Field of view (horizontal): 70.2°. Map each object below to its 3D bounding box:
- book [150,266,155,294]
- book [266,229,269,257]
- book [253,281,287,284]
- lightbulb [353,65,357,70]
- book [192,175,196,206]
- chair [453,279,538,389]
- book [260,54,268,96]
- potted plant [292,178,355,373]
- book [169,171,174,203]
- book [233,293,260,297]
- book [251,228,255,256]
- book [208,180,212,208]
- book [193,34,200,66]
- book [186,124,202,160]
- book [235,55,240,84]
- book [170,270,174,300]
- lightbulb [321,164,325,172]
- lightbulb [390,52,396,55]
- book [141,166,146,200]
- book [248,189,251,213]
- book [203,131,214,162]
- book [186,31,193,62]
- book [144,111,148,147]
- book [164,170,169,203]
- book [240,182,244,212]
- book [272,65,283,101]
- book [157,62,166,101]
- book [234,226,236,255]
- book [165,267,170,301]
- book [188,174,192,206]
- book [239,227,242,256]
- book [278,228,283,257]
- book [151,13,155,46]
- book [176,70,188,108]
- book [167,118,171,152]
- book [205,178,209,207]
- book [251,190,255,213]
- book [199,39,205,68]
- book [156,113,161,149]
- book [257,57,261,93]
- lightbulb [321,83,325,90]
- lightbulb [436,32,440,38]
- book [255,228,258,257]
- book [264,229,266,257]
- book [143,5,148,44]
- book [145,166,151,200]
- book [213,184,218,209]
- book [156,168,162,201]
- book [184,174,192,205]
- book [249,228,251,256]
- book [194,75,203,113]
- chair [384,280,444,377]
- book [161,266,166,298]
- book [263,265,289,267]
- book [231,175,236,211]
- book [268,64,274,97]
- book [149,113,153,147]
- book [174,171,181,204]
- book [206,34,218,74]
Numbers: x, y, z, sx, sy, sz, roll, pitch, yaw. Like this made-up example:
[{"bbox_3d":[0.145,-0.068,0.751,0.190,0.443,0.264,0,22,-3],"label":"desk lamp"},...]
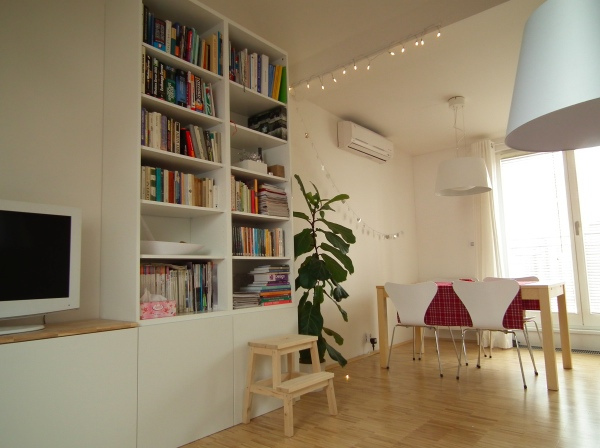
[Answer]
[{"bbox_3d":[-1.012,0.381,2.922,0.012,0.185,0.037,-3,-4,36],"label":"book"},{"bbox_3d":[-0.274,0.165,3.627,0.024,0.205,0.057,-2,-3,25],"label":"book"},{"bbox_3d":[-0.250,0.489,3.584,0.289,0.024,0.128,-1,-3,-10],"label":"book"},{"bbox_3d":[0.531,-1.500,4.101,0.018,0.019,0.032,-21,35,-40],"label":"lightbulb"},{"bbox_3d":[-0.790,-0.244,3.186,0.024,0.220,0.039,-1,-3,4],"label":"book"},{"bbox_3d":[2.181,0.865,4.138,0.843,1.487,0.872,-3,-3,36],"label":"chair"},{"bbox_3d":[-0.312,-1.308,3.744,0.071,0.366,0.046,0,-3,-20],"label":"book"},{"bbox_3d":[0.238,0.553,4.153,0.573,1.949,0.981,-1,-3,1],"label":"potted plant"},{"bbox_3d":[-0.920,-0.264,3.053,0.011,0.220,0.037,-2,-3,29],"label":"book"},{"bbox_3d":[-0.430,0.574,3.424,0.217,0.029,0.061,0,-3,-17],"label":"book"},{"bbox_3d":[-0.383,0.148,3.518,0.008,0.213,0.033,-3,-3,30],"label":"book"},{"bbox_3d":[-0.693,-0.224,3.275,0.025,0.272,0.195,-2,2,-11],"label":"book"},{"bbox_3d":[-0.797,-1.336,3.274,0.015,0.243,0.055,-2,-3,28],"label":"book"},{"bbox_3d":[-0.793,-0.624,3.223,0.042,0.206,0.194,-8,5,-8],"label":"book"},{"bbox_3d":[-0.526,-1.297,3.560,0.038,0.251,0.041,1,-3,-24],"label":"book"},{"bbox_3d":[-0.905,0.428,3.014,0.023,0.201,0.033,1,-3,-25],"label":"book"},{"bbox_3d":[0.269,-0.655,4.940,0.044,0.091,0.050,-1,-3,39],"label":"lightbulb"},{"bbox_3d":[0.847,-1.550,3.881,0.029,0.013,0.057,-2,-4,21],"label":"lightbulb"},{"bbox_3d":[-1.058,-0.279,2.885,0.015,0.220,0.043,-1,-3,11],"label":"book"},{"bbox_3d":[-0.422,-0.198,3.564,0.020,0.190,0.033,-1,-3,-5],"label":"book"},{"bbox_3d":[-0.706,-0.607,3.301,0.037,0.179,0.168,-5,8,-6],"label":"book"},{"bbox_3d":[-0.838,-1.349,3.232,0.054,0.243,0.015,2,-4,-44],"label":"book"},{"bbox_3d":[-1.055,-0.656,2.925,0.010,0.237,0.037,-2,-3,17],"label":"book"},{"bbox_3d":[-0.946,-0.267,3.019,0.013,0.222,0.043,-3,-3,31],"label":"book"},{"bbox_3d":[-0.477,-0.220,3.499,0.030,0.239,0.022,0,-3,-10],"label":"book"},{"bbox_3d":[-0.207,-1.274,3.844,0.101,0.303,0.040,0,-3,-20],"label":"book"},{"bbox_3d":[-0.982,-1.014,3.036,0.020,0.261,0.084,-2,-3,27],"label":"book"},{"bbox_3d":[-0.516,0.133,3.382,0.012,0.196,0.026,0,-3,-13],"label":"book"},{"bbox_3d":[-0.933,0.415,3.004,0.034,0.221,0.063,0,-3,-21],"label":"book"},{"bbox_3d":[-0.814,-0.253,3.153,0.013,0.222,0.036,-3,-4,33],"label":"book"},{"bbox_3d":[-0.479,0.140,3.418,0.016,0.217,0.036,-3,-4,36],"label":"book"},{"bbox_3d":[-0.167,0.158,3.724,0.027,0.252,0.088,-1,-3,-2],"label":"book"},{"bbox_3d":[-1.033,-1.360,2.993,0.017,0.241,0.037,-1,-3,0],"label":"book"},{"bbox_3d":[-0.876,-1.007,3.165,0.096,0.268,0.021,2,-4,-42],"label":"book"},{"bbox_3d":[-0.944,-0.645,3.074,0.025,0.237,0.013,2,-4,-41],"label":"book"},{"bbox_3d":[-0.714,-0.239,3.263,0.024,0.219,0.024,-1,-3,9],"label":"book"},{"bbox_3d":[-0.394,-0.192,3.589,0.013,0.186,0.047,-3,-4,37],"label":"book"},{"bbox_3d":[-0.758,-1.321,3.300,0.033,0.162,0.148,2,6,-5],"label":"book"},{"bbox_3d":[-0.991,-0.651,2.995,0.018,0.253,0.055,-2,-3,15],"label":"book"},{"bbox_3d":[-0.357,-1.306,3.714,0.026,0.322,0.061,-1,-3,4],"label":"book"},{"bbox_3d":[0.235,-1.437,4.471,0.022,0.026,0.052,21,-9,4],"label":"lightbulb"},{"bbox_3d":[1.175,-1.612,3.635,0.022,0.057,0.023,-16,10,-28],"label":"lightbulb"},{"bbox_3d":[-0.361,0.152,3.543,0.007,0.209,0.031,-3,-4,33],"label":"book"},{"bbox_3d":[-0.298,0.155,3.609,0.011,0.214,0.031,-1,-3,-4],"label":"book"},{"bbox_3d":[-1.073,-1.384,2.963,0.027,0.274,0.045,0,-3,-22],"label":"book"},{"bbox_3d":[-1.036,-0.278,2.909,0.038,0.222,0.020,1,-4,-34],"label":"book"},{"bbox_3d":[-0.654,-0.219,3.314,0.035,0.186,0.052,-2,-3,19],"label":"book"},{"bbox_3d":[-0.986,-0.274,2.981,0.007,0.222,0.044,-4,-4,43],"label":"book"},{"bbox_3d":[-0.824,-0.252,3.144,0.016,0.218,0.058,-3,-4,39],"label":"book"},{"bbox_3d":[-0.411,0.145,3.492,0.010,0.216,0.025,-3,-4,38],"label":"book"},{"bbox_3d":[-0.789,-1.010,3.278,0.074,0.302,0.069,2,-4,-44],"label":"book"},{"bbox_3d":[1.290,1.101,4.577,0.578,0.990,0.591,-5,-6,40],"label":"chair"},{"bbox_3d":[-0.951,0.397,2.971,0.034,0.208,0.012,1,-4,-33],"label":"book"},{"bbox_3d":[-0.198,0.360,3.668,0.081,0.022,0.242,-4,-5,43],"label":"book"},{"bbox_3d":[-0.533,-0.247,3.410,0.018,0.280,0.068,-2,-3,23],"label":"book"},{"bbox_3d":[-0.260,-1.272,3.795,0.063,0.288,0.015,2,-4,-45],"label":"book"},{"bbox_3d":[-1.031,-0.656,2.955,0.011,0.236,0.031,-3,-4,33],"label":"book"},{"bbox_3d":[-0.889,-0.263,3.101,0.035,0.173,0.155,-1,3,-5],"label":"book"},{"bbox_3d":[-0.693,-1.351,3.376,0.087,0.317,0.034,0,-3,-14],"label":"book"}]
